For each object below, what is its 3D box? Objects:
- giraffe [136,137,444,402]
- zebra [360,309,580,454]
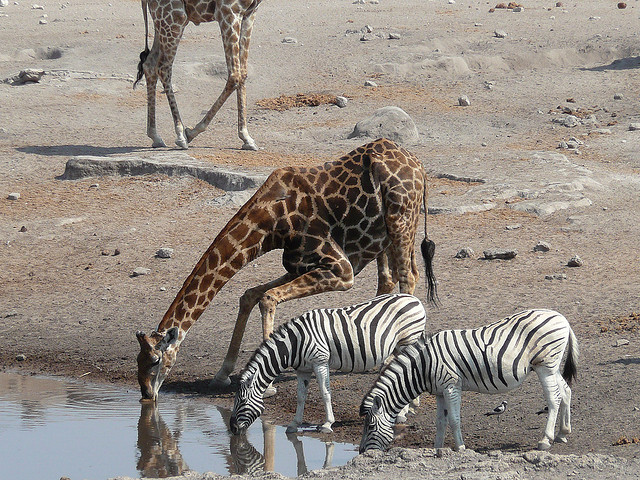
[{"bbox_3d":[-0.375,0.387,15.416,5.103,2.500,1.330,-15,15,-40],"label":"giraffe"},{"bbox_3d":[1.751,1.634,13.677,2.486,1.424,0.850,-4,29,-8],"label":"zebra"}]
